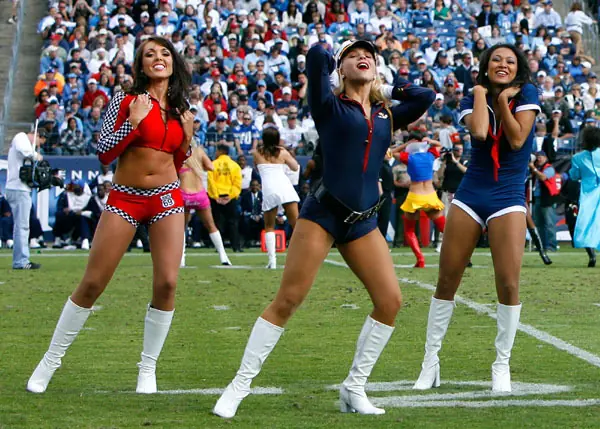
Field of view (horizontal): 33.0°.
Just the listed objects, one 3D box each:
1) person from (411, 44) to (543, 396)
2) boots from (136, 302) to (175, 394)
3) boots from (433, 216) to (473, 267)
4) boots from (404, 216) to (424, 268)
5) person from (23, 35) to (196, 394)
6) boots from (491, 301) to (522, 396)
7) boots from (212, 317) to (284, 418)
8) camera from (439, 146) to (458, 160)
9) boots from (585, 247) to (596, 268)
[{"bbox_3d":[1.821,-0.022,10.220,1.006,3.614,1.024,4,-13,8],"label":"person"},{"bbox_3d":[-1.444,1.318,9.985,0.275,0.819,0.374,4,9,30],"label":"boots"},{"bbox_3d":[1.746,0.308,11.393,0.215,0.923,0.265,10,2,-7],"label":"boots"},{"bbox_3d":[2.109,0.533,18.533,0.272,0.201,0.919,-23,38,14],"label":"boots"},{"bbox_3d":[-1.744,-0.003,9.958,1.464,3.623,0.935,4,-2,-22],"label":"person"},{"bbox_3d":[2.054,1.316,10.053,0.256,0.824,0.441,1,8,11],"label":"boots"},{"bbox_3d":[-0.484,1.416,9.495,0.648,0.875,0.280,-6,10,-38],"label":"boots"},{"bbox_3d":[2.518,-0.992,16.912,0.362,0.193,0.528,-1,9,-6],"label":"camera"},{"bbox_3d":[5.027,0.725,17.379,0.142,0.374,0.699,2,9,17],"label":"boots"}]
